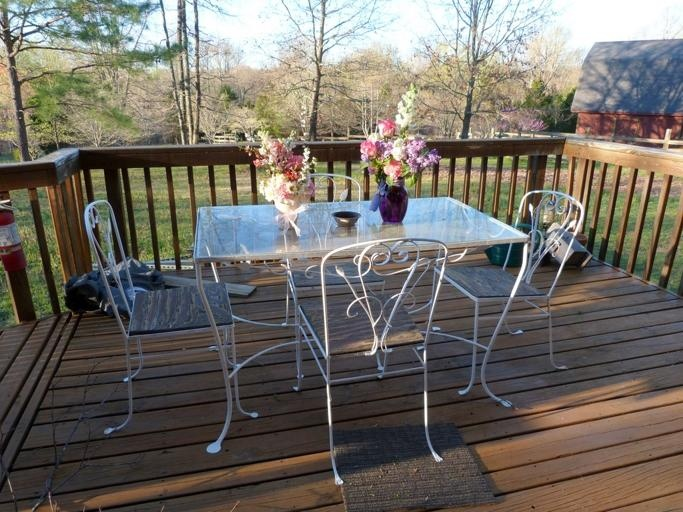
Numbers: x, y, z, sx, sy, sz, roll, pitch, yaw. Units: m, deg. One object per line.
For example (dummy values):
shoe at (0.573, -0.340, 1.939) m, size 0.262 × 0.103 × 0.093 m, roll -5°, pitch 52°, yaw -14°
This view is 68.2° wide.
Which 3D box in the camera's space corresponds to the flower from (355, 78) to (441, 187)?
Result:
flower at (0.350, -0.706, 3.028) m, size 0.449 × 0.607 × 0.361 m, roll 0°, pitch 21°, yaw 1°
